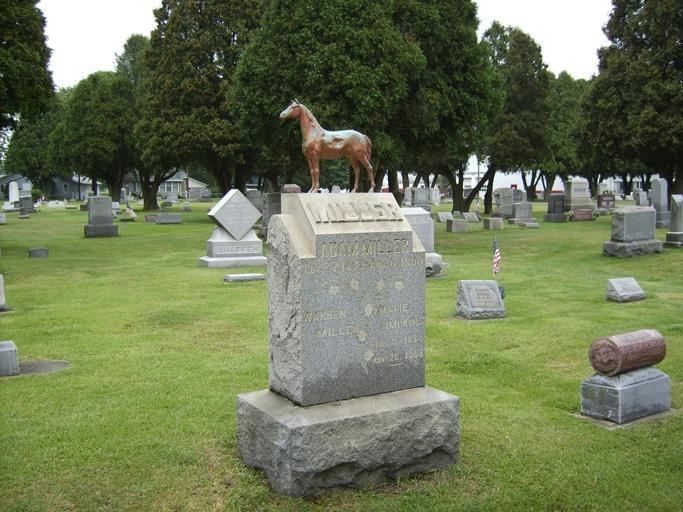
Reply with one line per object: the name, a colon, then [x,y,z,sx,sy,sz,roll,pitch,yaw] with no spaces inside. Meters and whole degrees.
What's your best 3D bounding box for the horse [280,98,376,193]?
horse: [-0.224,-1.665,9.396,1.451,1.429,0.417,0,1,-17]
